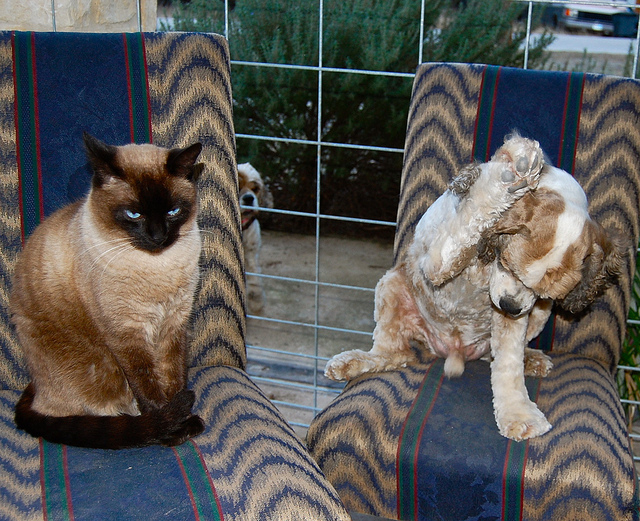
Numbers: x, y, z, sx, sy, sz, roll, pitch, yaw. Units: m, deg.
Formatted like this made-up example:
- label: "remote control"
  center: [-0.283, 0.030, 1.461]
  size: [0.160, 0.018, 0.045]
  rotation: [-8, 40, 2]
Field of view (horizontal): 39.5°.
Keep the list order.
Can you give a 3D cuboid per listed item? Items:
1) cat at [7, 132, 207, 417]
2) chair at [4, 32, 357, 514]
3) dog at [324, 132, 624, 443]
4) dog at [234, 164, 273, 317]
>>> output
- label: "cat"
  center: [-0.624, 0.044, 2.616]
  size: [0.558, 0.805, 0.369]
  rotation: [-2, 21, -10]
- label: "chair"
  center: [-0.562, -0.095, 2.847]
  size: [0.811, 1.231, 1.467]
  rotation: [-2, 17, -22]
- label: "dog"
  center: [0.431, 0.038, 2.959]
  size: [0.738, 1.034, 0.885]
  rotation: [1, 4, -18]
- label: "dog"
  center: [-0.365, -0.102, 4.446]
  size: [0.213, 0.663, 0.596]
  rotation: [2, 3, -5]
